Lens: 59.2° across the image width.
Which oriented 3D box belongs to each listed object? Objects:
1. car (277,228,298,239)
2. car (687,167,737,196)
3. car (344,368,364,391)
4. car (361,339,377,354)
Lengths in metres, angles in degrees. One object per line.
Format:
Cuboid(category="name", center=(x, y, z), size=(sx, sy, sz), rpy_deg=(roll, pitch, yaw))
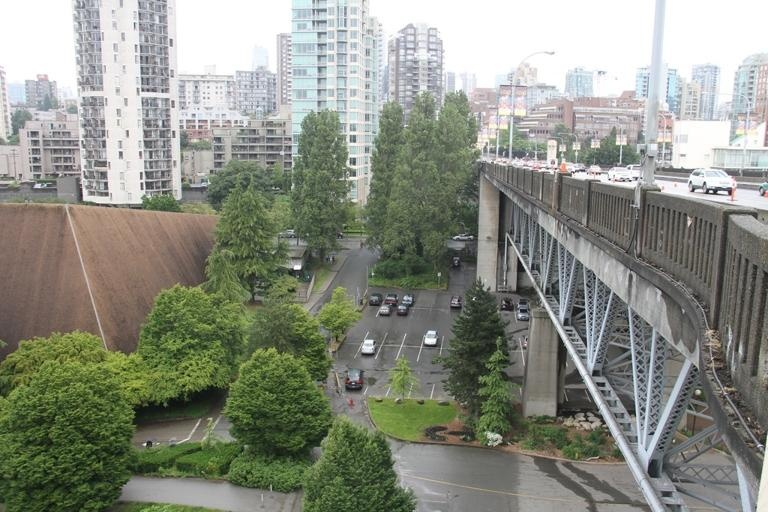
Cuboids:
Cuboid(category="car", center=(-13.544, -2.842, 94.383), size=(2.746, 1.356, 1.828), rpy_deg=(2, 5, -5))
Cuboid(category="car", center=(16.665, -3.843, 34.726), size=(1.211, 1.040, 2.755), rpy_deg=(0, 5, 5))
Cuboid(category="car", center=(-2.244, 9.404, 52.065), size=(0.861, 0.694, 1.857), rpy_deg=(2, 21, 2))
Cuboid(category="car", center=(-1.319, 7.805, 58.775), size=(1.216, 0.931, 2.393), rpy_deg=(1, 10, 3))
